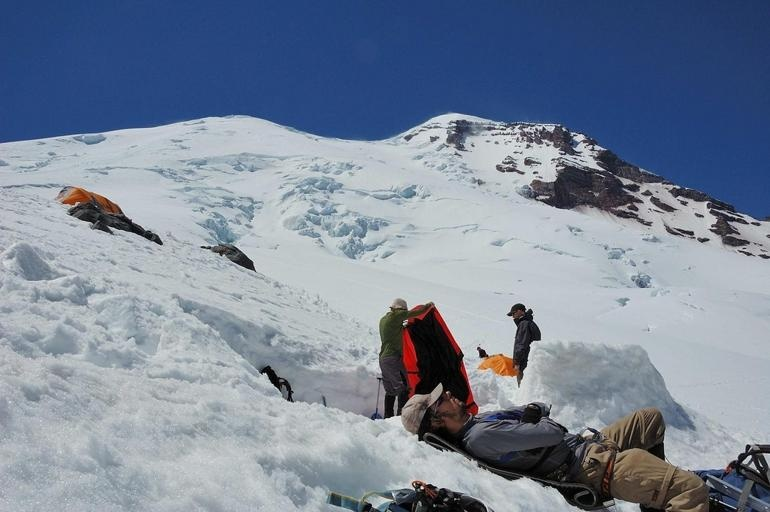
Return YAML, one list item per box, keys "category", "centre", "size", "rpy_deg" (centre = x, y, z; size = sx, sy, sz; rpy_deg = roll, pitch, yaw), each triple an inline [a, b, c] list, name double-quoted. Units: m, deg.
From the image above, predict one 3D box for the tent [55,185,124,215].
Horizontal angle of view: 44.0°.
- category: "tent"
  centre: [-24.783, -4.862, 79.042]
  size: [4.055, 1.072, 2.984]
  rpy_deg: [15, 2, 11]
